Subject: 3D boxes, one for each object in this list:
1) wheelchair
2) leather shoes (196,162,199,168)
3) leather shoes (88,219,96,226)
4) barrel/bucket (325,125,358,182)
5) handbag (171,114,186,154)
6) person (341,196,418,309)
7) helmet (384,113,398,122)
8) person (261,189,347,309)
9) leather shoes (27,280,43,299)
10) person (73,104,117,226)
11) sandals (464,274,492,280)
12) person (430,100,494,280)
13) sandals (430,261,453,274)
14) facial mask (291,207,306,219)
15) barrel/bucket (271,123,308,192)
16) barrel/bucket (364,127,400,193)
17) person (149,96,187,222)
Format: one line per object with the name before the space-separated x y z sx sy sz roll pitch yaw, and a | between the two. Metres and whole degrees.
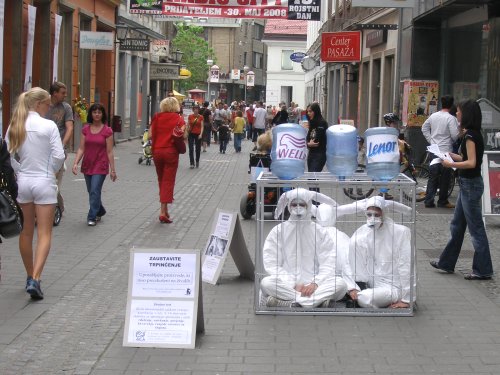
wheelchair | 0.212 -0.083 11.641 0.818 1.088 1.146 -5 12 2
leather shoes | -1.684 -0.733 21.217 0.071 0.217 0.083 -1 1 -14
leather shoes | -2.643 0.588 10.957 0.131 0.096 0.175 -3 14 -11
barrel/bucket | 1.023 -0.425 7.087 0.364 0.578 0.382 -3 28 2
handbag | -1.210 -0.889 11.235 0.226 0.658 0.316 -2 13 -7
person | 1.347 0.669 6.794 0.684 1.109 0.440 2 13 10
helmet | 2.928 -1.463 13.729 0.278 0.129 0.214 5 11 43
person | 0.574 0.616 6.832 0.903 1.209 0.760 0 4 9
leather shoes | -2.290 1.106 7.026 0.099 0.118 0.243 -5 -24 2
person | -2.650 -0.380 11.160 0.676 2.051 1.199 -3 14 -12
sandals | 2.808 1.094 7.962 0.299 0.074 0.116 2 1 3
person | 2.673 0.056 7.946 0.711 2.191 0.539 6 14 26
sandals | 2.434 1.022 8.291 0.295 0.089 0.110 28 -8 1
facial mask | 0.523 0.266 6.889 0.121 0.104 0.123 2 -4 8
barrel/bucket | 0.425 -0.376 6.980 0.377 0.608 0.341 0 13 3
barrel/bucket | 1.416 -0.346 6.973 0.390 0.610 0.386 -1 -5 0
person | -1.398 -0.471 11.457 0.605 2.176 0.868 -3 13 -9
